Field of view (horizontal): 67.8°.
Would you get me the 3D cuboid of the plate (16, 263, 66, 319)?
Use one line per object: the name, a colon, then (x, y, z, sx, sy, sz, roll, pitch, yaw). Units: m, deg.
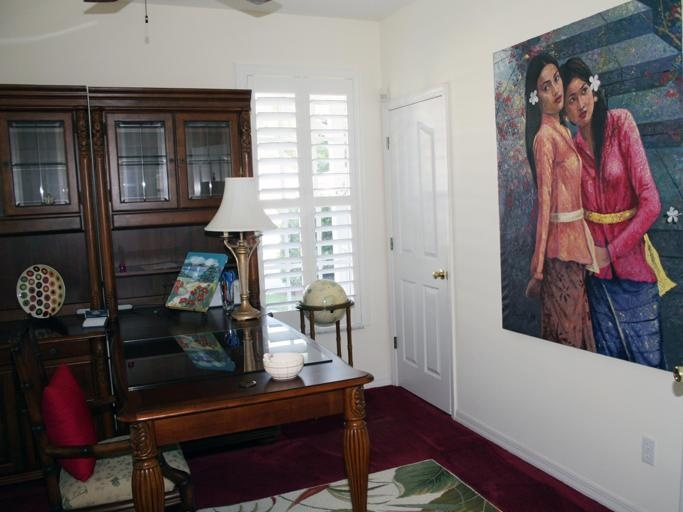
plate: (-2.149, 0.262, 3.647, 0.281, 0.404, 0.177, -8, 10, -30)

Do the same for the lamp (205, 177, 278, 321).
lamp: (-0.724, -0.067, 3.639, 0.457, 0.990, 0.644, -5, 9, -15)
